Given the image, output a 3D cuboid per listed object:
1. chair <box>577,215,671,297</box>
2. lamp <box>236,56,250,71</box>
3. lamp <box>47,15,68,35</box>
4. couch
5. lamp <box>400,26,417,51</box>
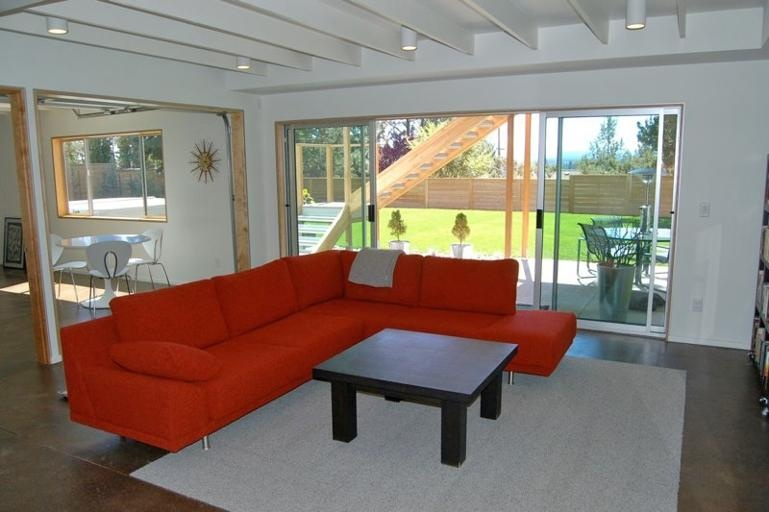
[{"bbox_3d":[2.885,-0.090,6.740,0.958,0.707,0.883,17,27,40],"label":"chair"},{"bbox_3d":[-1.740,-2.355,6.803,0.192,0.142,0.196,17,21,40],"label":"lamp"},{"bbox_3d":[-3.131,-2.217,5.325,0.179,0.130,0.204,-4,9,-11],"label":"lamp"},{"bbox_3d":[-0.907,0.826,4.827,2.468,0.836,2.877,1,8,27],"label":"couch"},{"bbox_3d":[0.250,-2.245,5.762,0.215,0.228,0.211,0,5,8],"label":"lamp"}]
